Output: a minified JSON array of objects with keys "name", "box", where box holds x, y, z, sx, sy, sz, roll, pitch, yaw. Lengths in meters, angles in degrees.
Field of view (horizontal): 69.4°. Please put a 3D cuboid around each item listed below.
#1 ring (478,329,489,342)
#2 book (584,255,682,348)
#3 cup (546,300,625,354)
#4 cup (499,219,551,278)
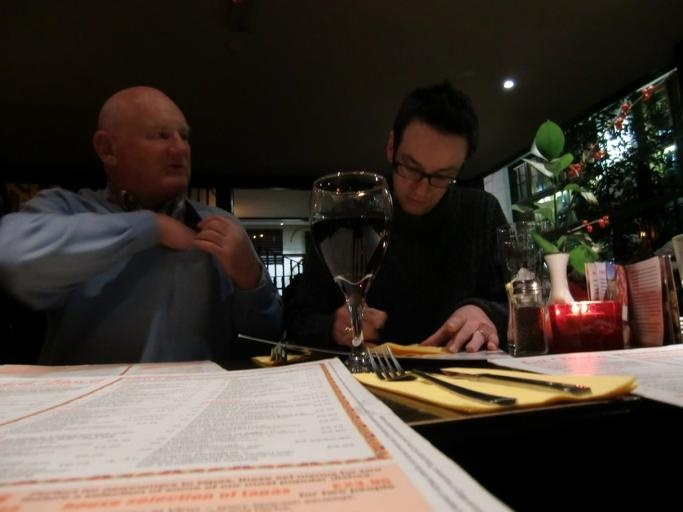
[{"name":"ring","box":[0.292,0.165,1.021,0.017,0.009,0.023,13,15,-32]},{"name":"book","box":[0.574,0.107,1.038,0.185,0.254,0.158,-5,-8,26]},{"name":"cup","box":[0.469,0.134,0.948,0.123,0.100,0.069,-6,-1,37]},{"name":"cup","box":[0.348,-0.006,0.960,0.083,0.114,0.059,3,8,19]}]
